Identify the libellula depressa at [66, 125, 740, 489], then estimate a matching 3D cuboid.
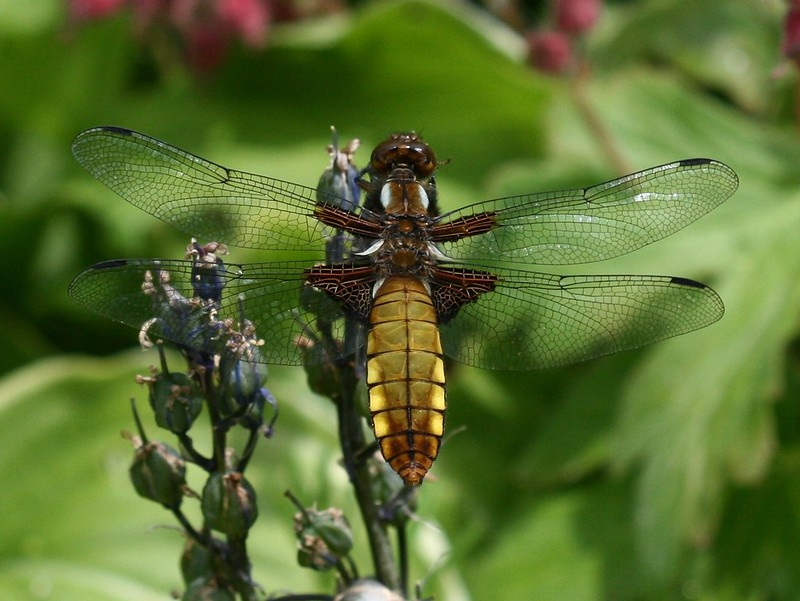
[{"bbox_3d":[-0.041,0.011,1.647,0.738,0.618,1.041,3,29,9],"label":"libellula depressa"}]
